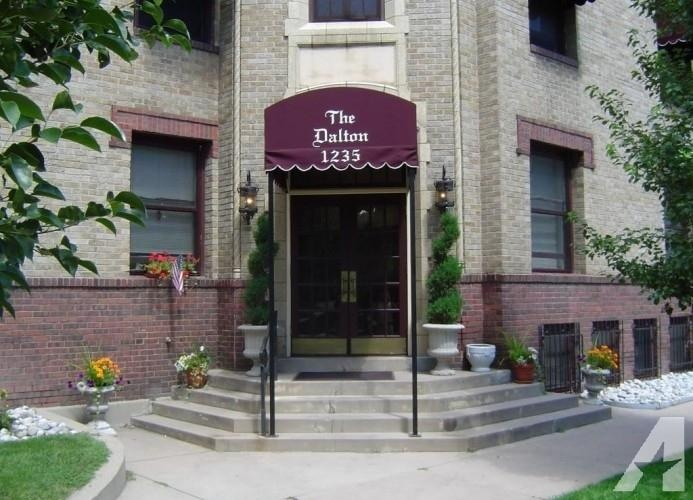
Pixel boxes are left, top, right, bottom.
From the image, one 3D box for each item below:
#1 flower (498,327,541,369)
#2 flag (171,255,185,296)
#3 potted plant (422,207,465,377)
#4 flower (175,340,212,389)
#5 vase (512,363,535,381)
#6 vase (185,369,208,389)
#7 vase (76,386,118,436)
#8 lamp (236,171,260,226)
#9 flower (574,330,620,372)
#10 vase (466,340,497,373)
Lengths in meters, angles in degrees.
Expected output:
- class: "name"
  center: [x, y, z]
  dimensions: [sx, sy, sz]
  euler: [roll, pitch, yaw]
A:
- class: "flower"
  center: [3.303, 1.868, 13.648]
  dimensions: [0.620, 0.656, 0.552]
  euler: [2, -4, -21]
- class: "flag"
  center: [-3.169, 0.477, 13.537]
  dimensions: [0.234, 0.714, 0.447]
  euler: [1, -4, -14]
- class: "potted plant"
  center: [1.789, 0.745, 13.356]
  dimensions: [0.693, 3.035, 0.882]
  euler: [0, -4, 10]
- class: "flower"
  center: [-2.753, 2.123, 13.469]
  dimensions: [0.785, 0.855, 0.671]
  euler: [0, 0, 8]
- class: "vase"
  center: [3.301, 2.281, 13.541]
  dimensions: [0.354, 0.282, 0.361]
  euler: [-1, -5, -2]
- class: "vase"
  center: [-2.749, 2.354, 13.243]
  dimensions: [0.366, 0.279, 0.347]
  euler: [4, -10, -27]
- class: "vase"
  center: [-4.264, 2.689, 12.317]
  dimensions: [0.639, 0.823, 0.895]
  euler: [2, -4, -20]
- class: "lamp"
  center: [-1.866, -0.973, 13.749]
  dimensions: [0.398, 0.879, 0.398]
  euler: [7, 12, 27]
- class: "flower"
  center: [5.034, 2.081, 14.488]
  dimensions: [0.837, 0.646, 0.861]
  euler: [4, -8, -3]
- class: "vase"
  center: [2.478, 1.994, 13.400]
  dimensions: [0.467, 0.413, 0.495]
  euler: [1, -14, 7]
